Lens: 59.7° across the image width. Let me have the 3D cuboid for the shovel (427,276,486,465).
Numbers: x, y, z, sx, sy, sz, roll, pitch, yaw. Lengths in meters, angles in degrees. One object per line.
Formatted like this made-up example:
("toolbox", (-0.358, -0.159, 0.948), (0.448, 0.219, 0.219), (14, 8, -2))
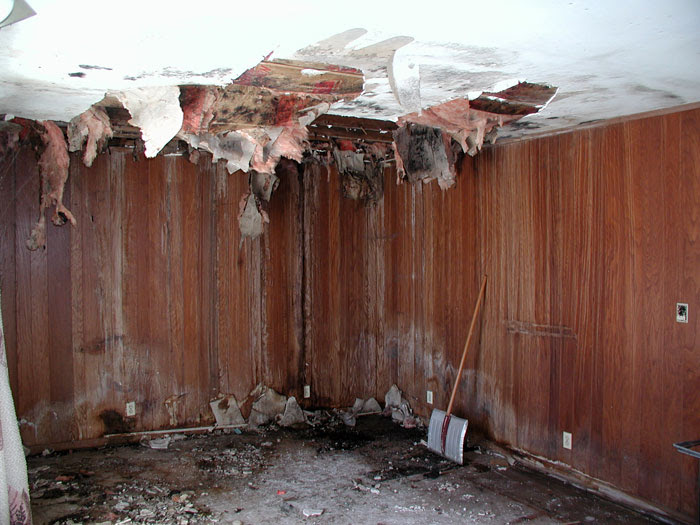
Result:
("shovel", (0.816, 0.928, 4.919), (0.063, 1.280, 0.401), (2, 3, -36))
